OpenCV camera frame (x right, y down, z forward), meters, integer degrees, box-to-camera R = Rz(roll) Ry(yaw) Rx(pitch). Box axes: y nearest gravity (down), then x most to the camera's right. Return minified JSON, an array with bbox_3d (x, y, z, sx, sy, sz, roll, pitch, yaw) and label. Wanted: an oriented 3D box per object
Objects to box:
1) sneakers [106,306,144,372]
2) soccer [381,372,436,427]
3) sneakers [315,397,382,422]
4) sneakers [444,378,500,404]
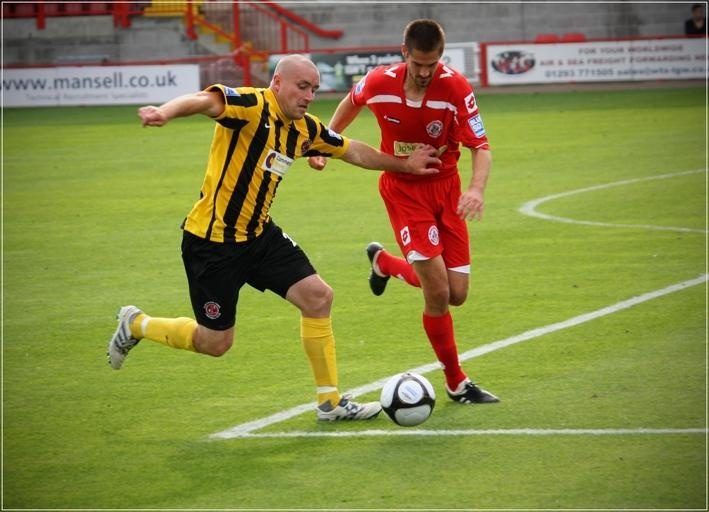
[{"bbox_3d":[-1.999,0.703,8.929,0.263,0.572,0.312,19,13,26],"label":"sneakers"},{"bbox_3d":[0.439,1.163,8.348,0.499,0.390,0.469,1,-5,21],"label":"soccer"},{"bbox_3d":[-0.049,1.303,8.679,0.651,0.203,0.187,-2,-2,-8],"label":"sneakers"},{"bbox_3d":[1.002,1.157,8.760,0.478,0.151,0.169,-1,5,10],"label":"sneakers"}]
